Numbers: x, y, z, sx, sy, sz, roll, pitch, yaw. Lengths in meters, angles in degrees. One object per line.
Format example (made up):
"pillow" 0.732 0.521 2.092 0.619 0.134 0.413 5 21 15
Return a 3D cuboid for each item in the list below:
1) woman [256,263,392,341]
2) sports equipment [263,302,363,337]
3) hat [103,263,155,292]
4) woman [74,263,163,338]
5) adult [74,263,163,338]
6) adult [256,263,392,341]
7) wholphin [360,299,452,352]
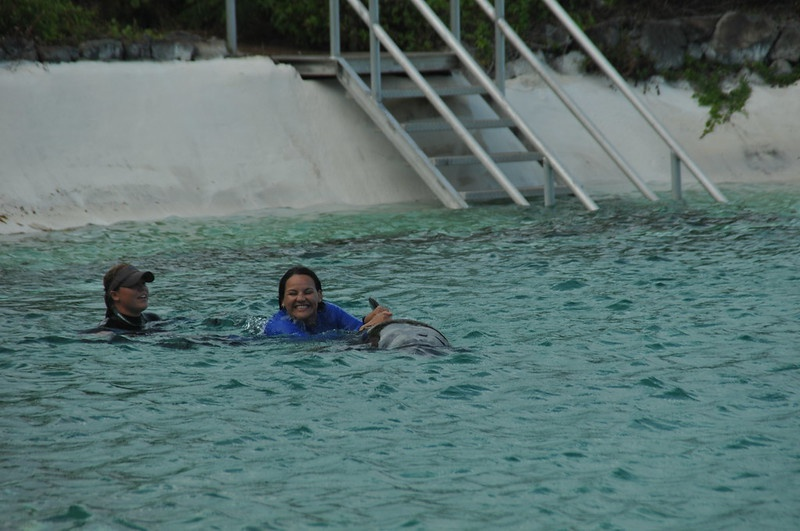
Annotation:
"woman" -0.808 0.375 9.496 1.121 0.463 1.314 -9 7 -10
"sports equipment" -0.771 0.502 9.769 0.526 0.165 0.444 2 -31 -21
"hat" -2.440 0.108 9.918 0.398 0.170 0.238 -21 -1 15
"woman" -2.384 0.323 10.028 0.689 0.630 1.081 -11 -10 26
"adult" -2.414 0.310 10.046 0.636 0.634 1.009 -8 -7 16
"adult" -0.814 0.363 9.484 1.200 0.486 1.415 -8 3 -9
"wholphin" 0.017 0.595 9.364 0.709 0.368 0.305 -12 -3 9
